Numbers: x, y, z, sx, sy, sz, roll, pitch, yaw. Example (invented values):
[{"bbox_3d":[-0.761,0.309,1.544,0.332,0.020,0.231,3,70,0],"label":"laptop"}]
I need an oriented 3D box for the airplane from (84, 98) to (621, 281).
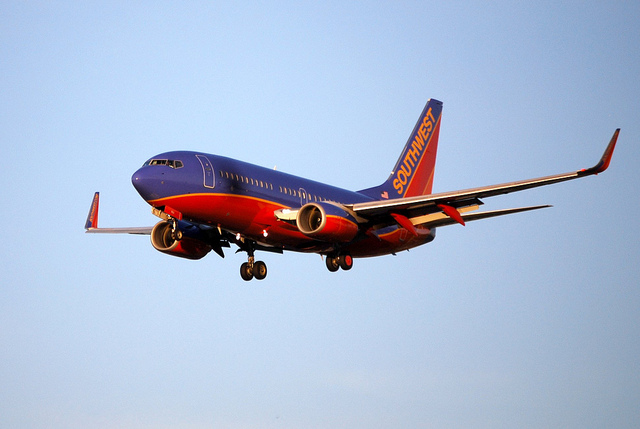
[{"bbox_3d":[-0.462,-0.157,35.392,10.998,5.970,12.938,17,-22,-39],"label":"airplane"}]
